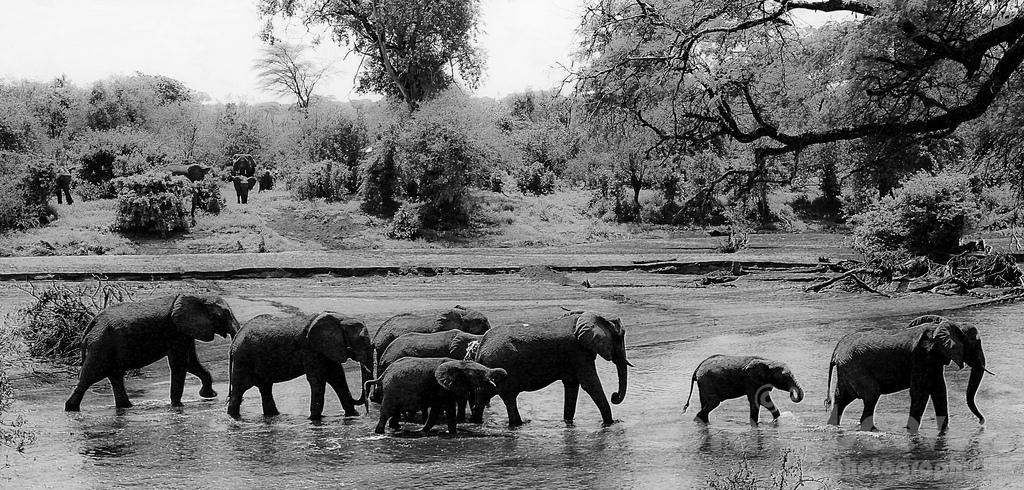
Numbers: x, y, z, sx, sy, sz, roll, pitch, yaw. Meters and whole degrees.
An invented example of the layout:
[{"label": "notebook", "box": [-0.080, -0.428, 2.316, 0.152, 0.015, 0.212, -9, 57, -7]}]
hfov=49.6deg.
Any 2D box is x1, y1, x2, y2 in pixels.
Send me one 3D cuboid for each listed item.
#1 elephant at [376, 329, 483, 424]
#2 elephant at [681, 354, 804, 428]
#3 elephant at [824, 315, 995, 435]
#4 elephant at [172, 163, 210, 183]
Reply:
[{"label": "elephant", "box": [-2.606, 4.402, 35.919, 1.916, 2.999, 5.321, 0, 1, -42]}, {"label": "elephant", "box": [7.519, 4.817, 36.249, 4.161, 1.978, 1.158, -2, -2, 2]}, {"label": "elephant", "box": [12.639, 4.343, 35.645, 5.185, 3.240, 3.217, -2, -3, 13]}, {"label": "elephant", "box": [-20.695, -4.575, 70.992, 2.471, 1.254, 1.054, 1, 16, -9]}]
